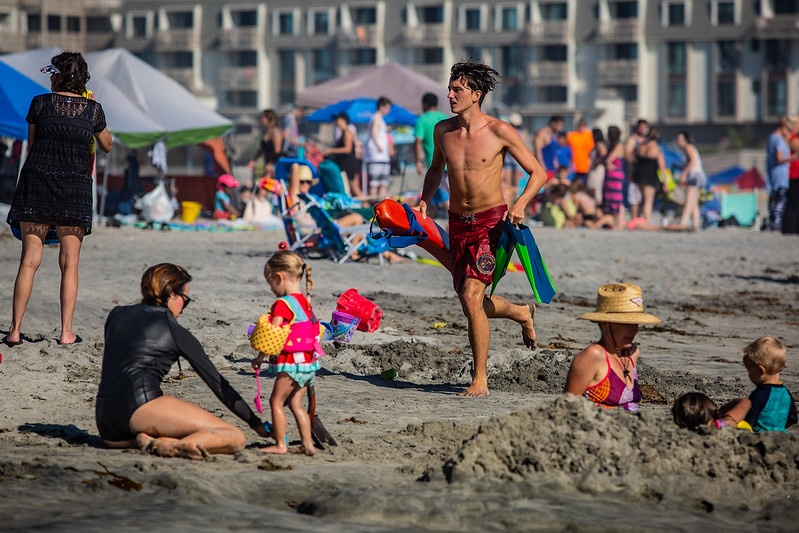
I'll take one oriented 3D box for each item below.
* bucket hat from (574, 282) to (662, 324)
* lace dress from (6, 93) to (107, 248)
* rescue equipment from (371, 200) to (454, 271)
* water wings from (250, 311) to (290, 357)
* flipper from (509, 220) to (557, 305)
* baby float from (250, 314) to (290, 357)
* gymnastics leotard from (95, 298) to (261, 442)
[{"bbox_3d":[1.963,0.342,13.794,0.616,0.345,0.458,0,3,-32],"label":"bucket hat"},{"bbox_3d":[-3.398,-1.020,15.250,0.900,1.374,0.239,1,2,-14],"label":"lace dress"},{"bbox_3d":[0.131,-0.428,15.401,0.725,0.235,0.522,11,41,-28],"label":"rescue equipment"},{"bbox_3d":[-1.093,0.626,13.746,0.404,0.374,0.391,13,1,4],"label":"water wings"},{"bbox_3d":[1.316,-0.026,15.298,0.450,0.808,0.883,2,2,6],"label":"flipper"},{"bbox_3d":[-1.056,0.628,13.737,0.373,0.376,0.398,8,-7,0],"label":"baby float"},{"bbox_3d":[-2.344,0.825,13.997,0.936,1.438,2.448,1,0,-19],"label":"gymnastics leotard"}]
